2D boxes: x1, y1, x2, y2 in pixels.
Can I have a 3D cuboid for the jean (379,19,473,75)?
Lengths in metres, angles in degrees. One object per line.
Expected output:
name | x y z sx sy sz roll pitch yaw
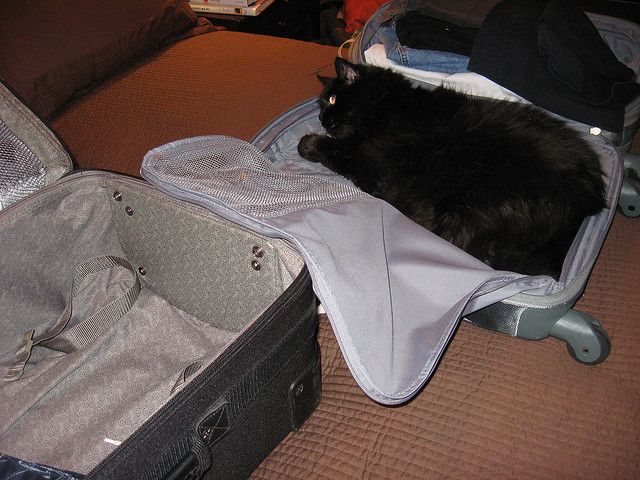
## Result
jean | 0.324 -0.567 1.757 0.210 0.073 0.182 16 38 15

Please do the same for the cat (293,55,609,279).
cat | 0.339 -0.141 1.638 0.745 0.261 0.533 28 64 11

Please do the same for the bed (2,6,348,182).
bed | -0.498 -0.514 1.823 0.859 0.333 0.679 21 47 24
